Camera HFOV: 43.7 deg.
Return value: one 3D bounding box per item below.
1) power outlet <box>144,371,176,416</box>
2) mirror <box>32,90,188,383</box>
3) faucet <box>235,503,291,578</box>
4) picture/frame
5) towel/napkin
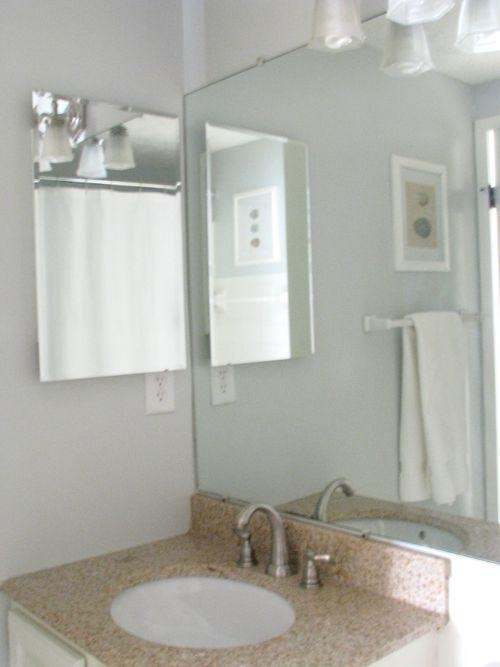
[{"bbox_3d":[-0.233,0.150,1.601,0.008,0.108,0.092,-2,-1,43],"label":"power outlet"},{"bbox_3d":[-0.322,-0.209,1.470,0.356,0.623,0.006,-4,9,-28],"label":"mirror"},{"bbox_3d":[0.026,0.424,1.288,0.121,0.160,0.063,-3,7,-16],"label":"faucet"},{"bbox_3d":[0.302,-0.216,1.110,0.024,0.164,0.130,-4,1,-27],"label":"picture/frame"},{"bbox_3d":[0.326,0.123,1.147,0.085,0.311,0.123,-7,-9,35],"label":"towel/napkin"}]
